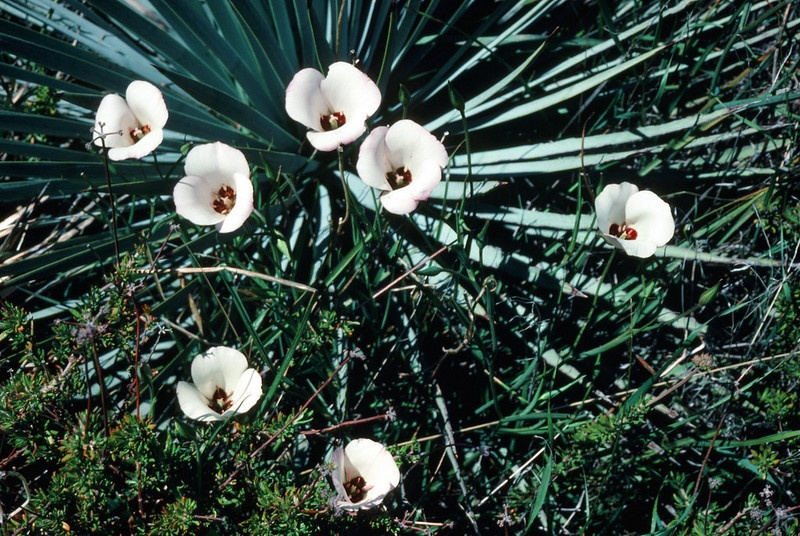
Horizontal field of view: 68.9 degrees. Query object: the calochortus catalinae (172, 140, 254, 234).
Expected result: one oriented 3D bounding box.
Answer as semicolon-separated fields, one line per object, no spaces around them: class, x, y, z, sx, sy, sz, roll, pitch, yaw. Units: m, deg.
calochortus catalinae;-0.716;-0.307;2.269;0.301;0.285;0.261;19;-62;-14
